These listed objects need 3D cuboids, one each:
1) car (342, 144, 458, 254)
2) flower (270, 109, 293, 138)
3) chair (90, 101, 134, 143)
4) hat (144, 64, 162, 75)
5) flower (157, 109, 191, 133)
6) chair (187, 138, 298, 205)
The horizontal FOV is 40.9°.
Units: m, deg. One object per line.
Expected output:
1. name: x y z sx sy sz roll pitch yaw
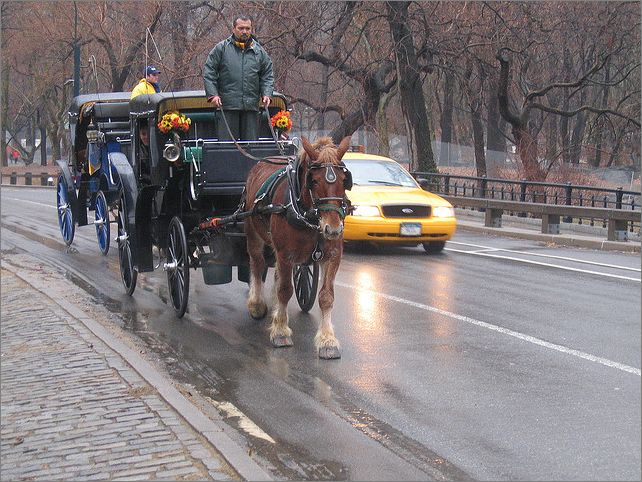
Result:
1. car: 1.464 -0.838 17.421 1.241 1.223 3.213 0 0 -13
2. flower: -0.567 -1.740 12.747 0.336 0.404 0.365 -2 8 -10
3. chair: -3.712 -2.173 15.437 0.770 0.866 0.792 -1 3 -22
4. hat: -2.820 -2.811 14.221 0.175 0.119 0.125 -7 8 6
5. flower: -2.077 -1.640 11.963 0.463 0.323 0.380 7 13 20
6. chair: -1.312 -1.109 12.449 0.825 0.682 1.202 0 16 2
